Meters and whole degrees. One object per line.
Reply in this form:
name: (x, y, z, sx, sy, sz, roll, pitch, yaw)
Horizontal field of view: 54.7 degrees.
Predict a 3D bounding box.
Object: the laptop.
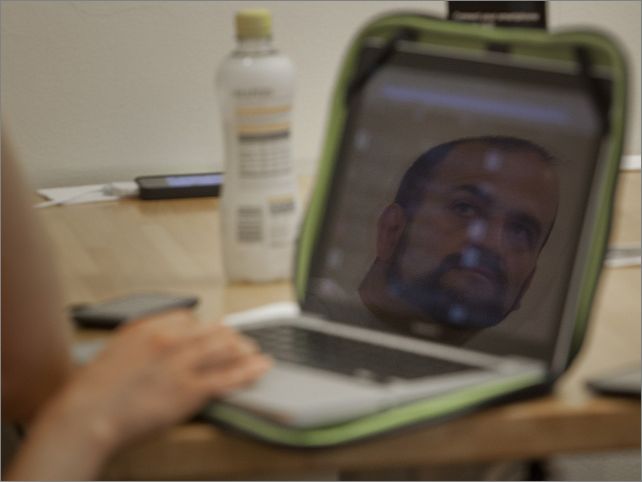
laptop: (0.092, -0.021, 0.581, 0.324, 0.271, 0.345, 19, 18, 41)
